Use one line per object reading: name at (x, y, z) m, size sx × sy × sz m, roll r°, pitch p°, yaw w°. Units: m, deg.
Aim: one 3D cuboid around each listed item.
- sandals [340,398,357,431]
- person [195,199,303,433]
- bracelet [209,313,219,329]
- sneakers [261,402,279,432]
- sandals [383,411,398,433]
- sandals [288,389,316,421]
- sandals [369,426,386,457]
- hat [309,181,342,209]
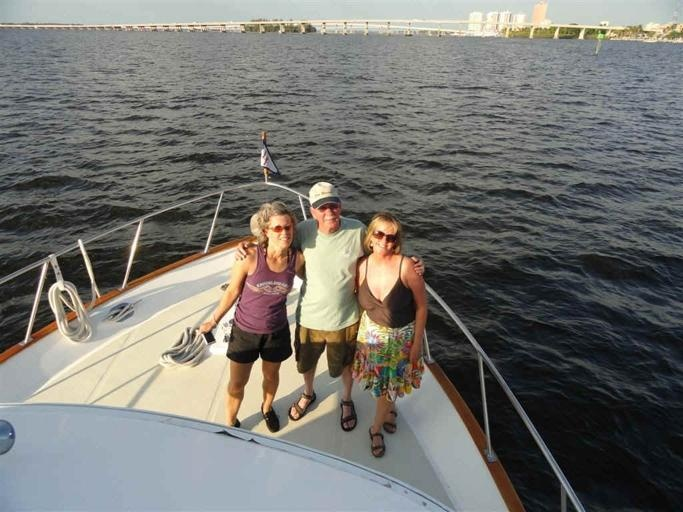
sandals at (0.069, 1.557, 4.502) m, size 0.150 × 0.113 × 0.291 m, roll -2°, pitch 34°, yaw 0°
person at (-0.802, 0.603, 4.141) m, size 0.821 × 2.160 × 0.878 m, roll 3°, pitch 33°, yaw -2°
bracelet at (-1.188, 0.597, 4.194) m, size 0.095 × 0.110 × 0.045 m, roll 2°, pitch -4°, yaw 26°
sneakers at (-0.689, 1.568, 4.438) m, size 0.118 × 0.117 × 0.283 m, roll -19°, pitch 62°, yaw -20°
sandals at (0.477, 1.621, 4.478) m, size 0.095 × 0.073 × 0.256 m, roll 1°, pitch 15°, yaw 6°
sandals at (-0.416, 1.469, 4.607) m, size 0.149 × 0.132 × 0.365 m, roll 22°, pitch 34°, yaw 27°
sandals at (0.340, 1.745, 4.301) m, size 0.140 × 0.063 × 0.265 m, roll -3°, pitch 30°, yaw -4°
hat at (-0.172, -0.536, 4.027) m, size 0.214 × 0.143 × 0.273 m, roll -7°, pitch 16°, yaw -6°
